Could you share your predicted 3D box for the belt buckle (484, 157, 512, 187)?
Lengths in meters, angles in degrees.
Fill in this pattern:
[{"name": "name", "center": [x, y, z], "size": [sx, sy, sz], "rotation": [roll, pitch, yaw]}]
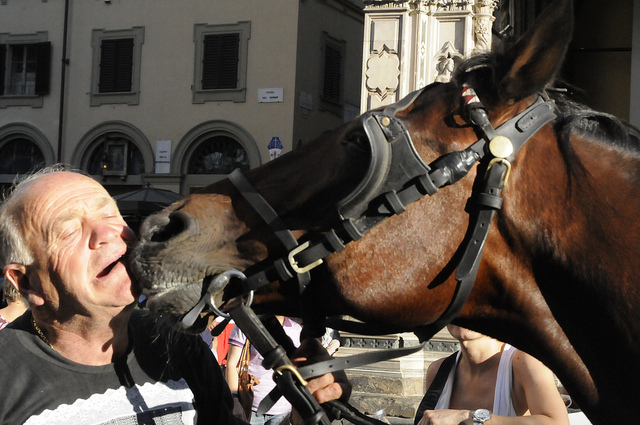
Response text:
[{"name": "belt buckle", "center": [0.993, -0.217, 4.963], "size": [0.161, 0.164, 0.033], "rotation": [-2, 4, -8]}]
